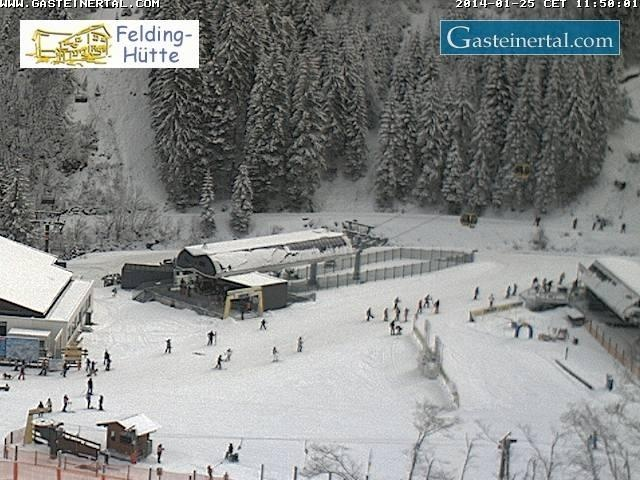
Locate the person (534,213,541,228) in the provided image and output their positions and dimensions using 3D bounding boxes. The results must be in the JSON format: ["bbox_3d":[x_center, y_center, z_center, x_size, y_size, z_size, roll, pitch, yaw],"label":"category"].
[{"bbox_3d":[24.026,-2.113,112.327,0.338,1.729,0.892,2,30,13],"label":"person"}]

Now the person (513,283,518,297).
[{"bbox_3d":[17.366,4.452,90.635,0.400,0.824,2.058,-1,5,13],"label":"person"}]

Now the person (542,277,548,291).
[{"bbox_3d":[20.142,4.029,91.147,0.196,0.918,0.476,9,-28,2],"label":"person"}]

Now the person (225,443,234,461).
[{"bbox_3d":[-5.717,13.018,62.972,0.601,0.903,1.116,-3,4,-6],"label":"person"}]

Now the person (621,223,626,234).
[{"bbox_3d":[33.041,-1.226,110.637,0.486,1.376,0.692,-18,24,-33],"label":"person"}]

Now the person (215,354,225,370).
[{"bbox_3d":[-7.567,9.110,75.983,0.756,1.004,0.844,-8,14,-9],"label":"person"}]

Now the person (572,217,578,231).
[{"bbox_3d":[27.950,-1.665,111.402,0.326,1.387,0.696,7,-30,19],"label":"person"}]

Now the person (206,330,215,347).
[{"bbox_3d":[-8.700,7.781,80.582,0.686,1.065,1.565,-3,4,-7],"label":"person"}]

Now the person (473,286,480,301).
[{"bbox_3d":[13.723,4.730,89.689,0.696,1.102,0.268,30,-17,-28],"label":"person"}]

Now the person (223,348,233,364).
[{"bbox_3d":[-7.089,8.712,77.586,0.629,0.886,1.865,-2,4,-5],"label":"person"}]
